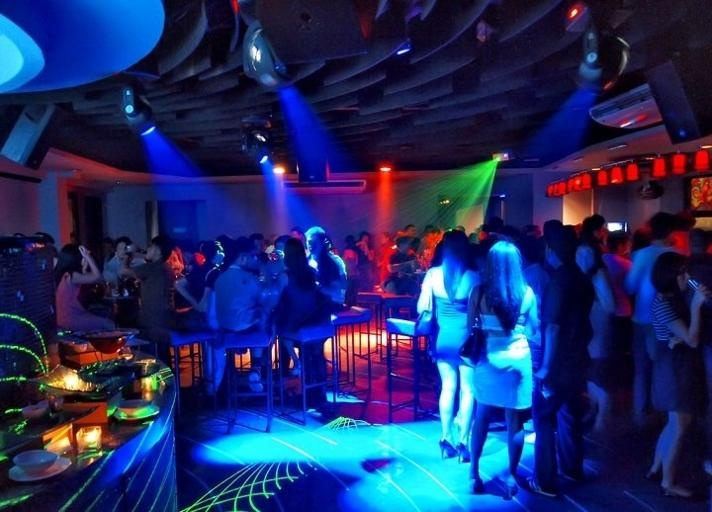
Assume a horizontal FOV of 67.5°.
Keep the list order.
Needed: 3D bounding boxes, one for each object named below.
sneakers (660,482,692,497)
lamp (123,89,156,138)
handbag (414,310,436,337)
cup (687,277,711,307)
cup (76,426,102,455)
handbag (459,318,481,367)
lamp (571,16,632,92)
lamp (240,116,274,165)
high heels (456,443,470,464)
[{"bbox_3d":[2.412,1.776,4.042,0.169,0.070,0.091,-4,-5,20],"label":"sneakers"},{"bbox_3d":[-2.478,-1.658,6.084,0.240,0.386,0.532,-11,9,-6],"label":"lamp"},{"bbox_3d":[0.583,0.579,4.529,0.188,0.212,0.179,1,-3,8],"label":"handbag"},{"bbox_3d":[2.463,0.277,3.841,0.157,0.211,0.161,-2,11,0],"label":"cup"},{"bbox_3d":[-1.413,0.975,2.832,0.134,0.133,0.129,-1,-8,0],"label":"cup"},{"bbox_3d":[0.860,0.690,4.130,0.172,0.430,0.232,-4,11,-11],"label":"handbag"},{"bbox_3d":[1.990,-1.640,4.383,0.358,0.475,0.373,-1,11,2],"label":"lamp"},{"bbox_3d":[-1.385,-1.626,7.424,0.390,0.595,0.806,-4,11,-9],"label":"lamp"},{"bbox_3d":[0.896,1.680,4.501,0.090,0.161,0.163,0,-30,3],"label":"high heels"}]
